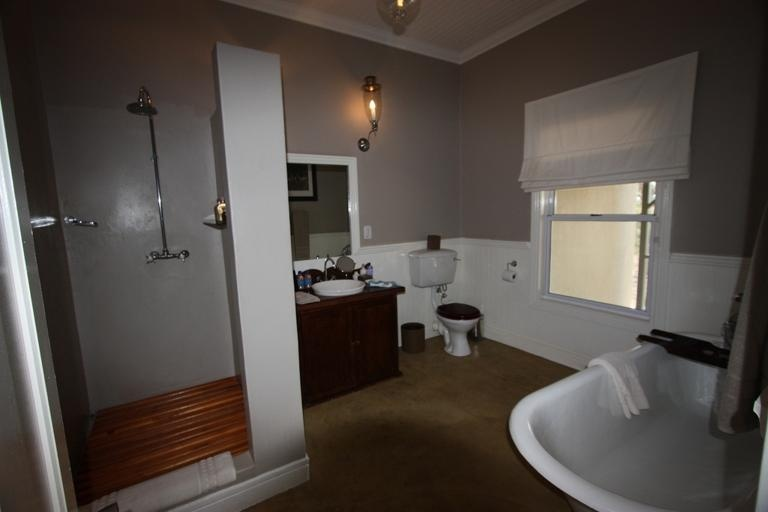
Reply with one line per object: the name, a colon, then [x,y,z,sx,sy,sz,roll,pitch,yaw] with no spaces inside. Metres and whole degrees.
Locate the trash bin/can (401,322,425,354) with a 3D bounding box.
trash bin/can: [0.313,0.845,5.426,0.256,0.279,0.279,10,17,37]

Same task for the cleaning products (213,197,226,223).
cleaning products: [-1.239,-0.327,3.907,0.071,0.221,0.340,-3,8,-20]

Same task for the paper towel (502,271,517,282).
paper towel: [1.286,0.209,5.233,0.128,0.126,0.101,7,11,44]

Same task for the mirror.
mirror: [-0.641,-0.480,5.303,0.959,1.092,0.053,10,23,37]

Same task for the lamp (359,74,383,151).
lamp: [-0.126,-1.385,5.037,0.232,0.728,0.268,0,8,0]

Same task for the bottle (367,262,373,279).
bottle: [-0.124,0.146,5.151,0.058,0.156,0.141,0,8,0]

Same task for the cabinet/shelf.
cabinet/shelf: [-0.206,0.850,4.698,1.095,0.932,0.465,-15,-31,11]

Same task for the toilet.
toilet: [0.695,0.457,5.359,0.555,1.007,0.895,-7,11,-29]

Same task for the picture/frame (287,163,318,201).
picture/frame: [-0.781,-0.706,4.790,0.329,0.347,0.023,-6,11,-34]

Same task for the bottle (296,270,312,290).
bottle: [-0.741,0.221,4.790,0.164,0.223,0.087,-4,5,-38]
